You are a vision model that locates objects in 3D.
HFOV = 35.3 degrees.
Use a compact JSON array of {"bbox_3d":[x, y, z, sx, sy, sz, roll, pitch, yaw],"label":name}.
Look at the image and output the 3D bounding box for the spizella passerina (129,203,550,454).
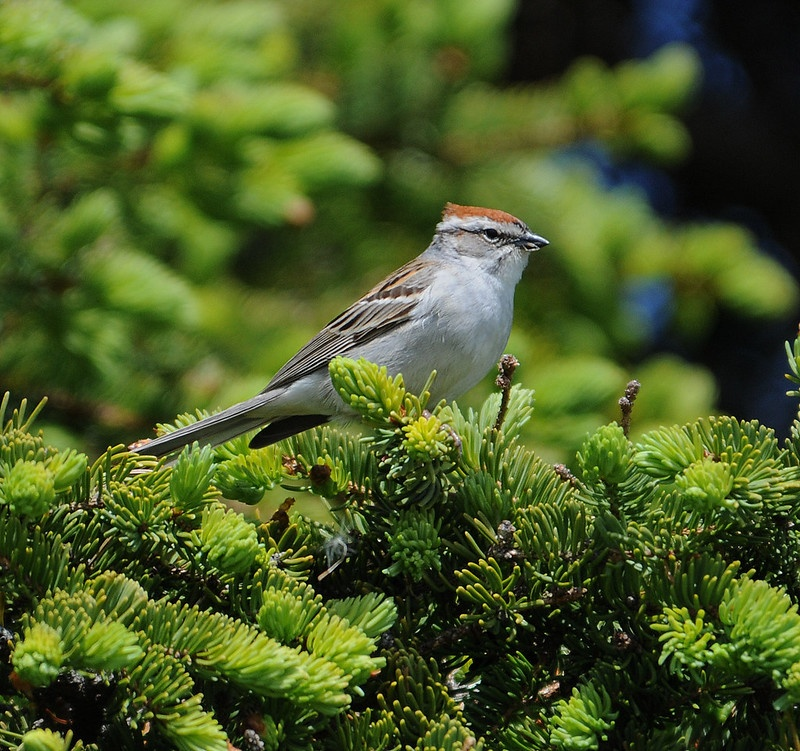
[{"bbox_3d":[-0.098,-0.173,4.645,1.073,0.931,0.704,1,10,-27],"label":"spizella passerina"}]
